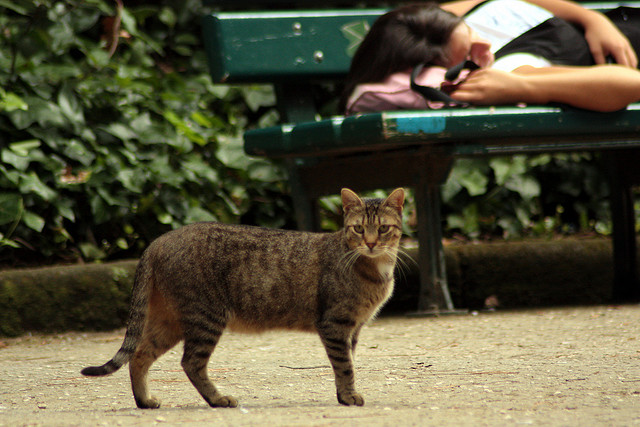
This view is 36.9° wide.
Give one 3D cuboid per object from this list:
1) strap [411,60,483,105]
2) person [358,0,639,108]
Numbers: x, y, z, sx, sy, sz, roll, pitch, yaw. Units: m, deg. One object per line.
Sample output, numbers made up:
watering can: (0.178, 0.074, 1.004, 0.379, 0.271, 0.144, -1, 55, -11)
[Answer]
strap: (0.654, -0.755, 5.557, 0.305, 0.149, 0.436, -47, -11, 36)
person: (1.076, -0.958, 5.719, 1.193, 0.391, 0.852, 4, 18, -4)
